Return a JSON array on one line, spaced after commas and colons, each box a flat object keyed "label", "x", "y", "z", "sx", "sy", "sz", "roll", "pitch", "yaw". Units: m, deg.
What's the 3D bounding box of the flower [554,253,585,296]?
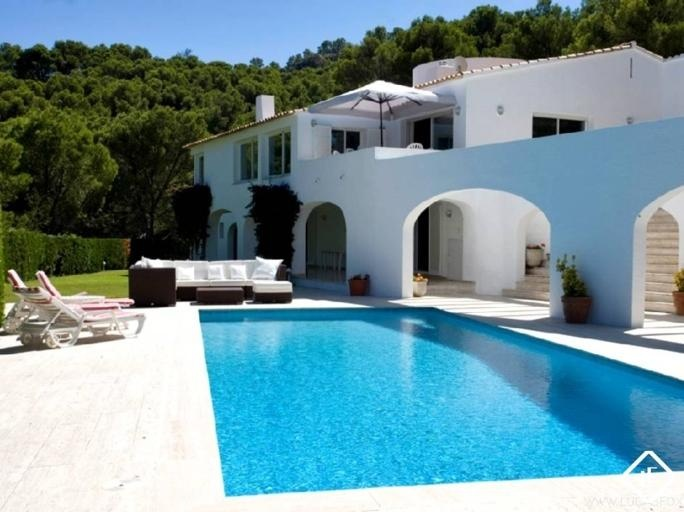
[{"label": "flower", "x": 4.816, "y": 0.403, "z": 10.990, "sx": 0.650, "sy": 0.869, "sz": 0.465, "roll": 4, "pitch": 3, "yaw": 36}]

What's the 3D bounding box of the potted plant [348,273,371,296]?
[{"label": "potted plant", "x": 0.498, "y": 0.856, "z": 15.489, "sx": 0.587, "sy": 0.497, "sz": 0.581, "roll": 0, "pitch": -4, "yaw": 13}]

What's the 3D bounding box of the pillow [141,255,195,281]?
[{"label": "pillow", "x": -4.672, "y": 0.365, "z": 14.028, "sx": 1.199, "sy": 0.611, "sz": 1.360, "roll": 2, "pitch": 3, "yaw": -1}]

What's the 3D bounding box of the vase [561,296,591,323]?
[{"label": "vase", "x": 4.879, "y": 1.077, "z": 10.866, "sx": 0.534, "sy": 0.465, "sz": 0.546, "roll": 2, "pitch": 1, "yaw": 12}]

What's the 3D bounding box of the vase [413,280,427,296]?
[{"label": "vase", "x": 2.309, "y": 0.916, "z": 15.127, "sx": 0.267, "sy": 0.490, "sz": 0.561, "roll": 4, "pitch": 4, "yaw": 41}]
